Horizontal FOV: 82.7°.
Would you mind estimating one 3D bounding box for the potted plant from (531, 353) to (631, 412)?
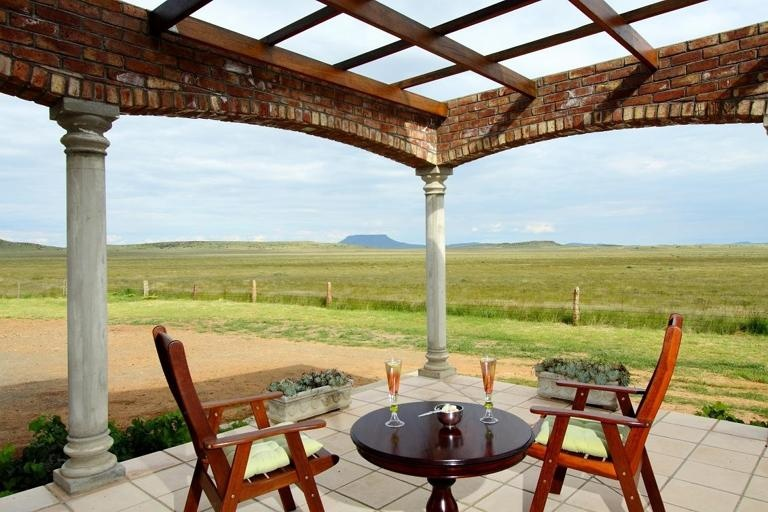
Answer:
[{"bbox_3d":[2.985,1.805,6.676,1.431,0.468,1.192,-2,-3,41],"label":"potted plant"}]

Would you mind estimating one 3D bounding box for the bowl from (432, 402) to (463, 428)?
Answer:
[{"bbox_3d":[0.543,1.341,3.714,0.268,0.138,0.225,-1,1,-3],"label":"bowl"}]
